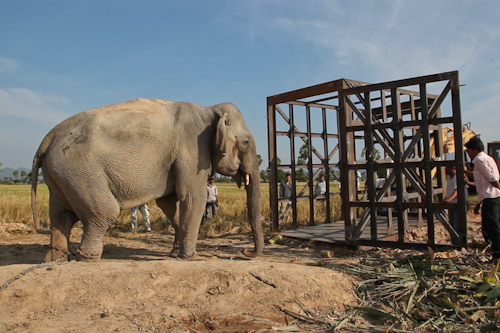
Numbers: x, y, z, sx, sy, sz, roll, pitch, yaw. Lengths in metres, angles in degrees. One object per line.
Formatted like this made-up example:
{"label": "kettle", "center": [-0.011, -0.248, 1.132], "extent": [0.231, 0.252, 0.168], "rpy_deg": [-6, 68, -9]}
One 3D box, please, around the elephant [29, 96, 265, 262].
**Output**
{"label": "elephant", "center": [-1.835, 0.289, 9.014], "extent": [4.872, 3.393, 2.387], "rpy_deg": [-1, 0, -28]}

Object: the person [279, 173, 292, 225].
{"label": "person", "center": [1.316, 1.070, 14.741], "extent": [0.464, 1.729, 0.455], "rpy_deg": [-2, 20, -4]}
